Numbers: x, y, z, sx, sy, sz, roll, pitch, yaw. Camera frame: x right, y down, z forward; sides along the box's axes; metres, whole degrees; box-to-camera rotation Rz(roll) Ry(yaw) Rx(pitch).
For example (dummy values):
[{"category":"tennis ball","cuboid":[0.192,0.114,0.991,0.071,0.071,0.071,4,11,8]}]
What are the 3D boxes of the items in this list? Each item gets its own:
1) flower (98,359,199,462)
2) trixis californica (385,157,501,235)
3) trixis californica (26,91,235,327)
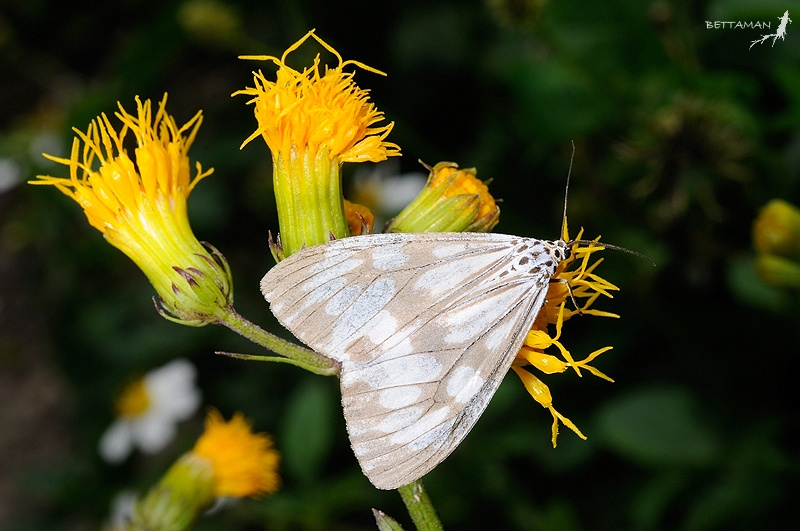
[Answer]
[{"category":"flower","cuboid":[-1.268,0.753,4.290,0.476,0.134,0.519,10,88,20]},{"category":"trixis californica","cuboid":[0.173,-0.241,3.342,0.361,0.207,0.297,-30,57,-3]},{"category":"trixis californica","cuboid":[-0.982,-0.200,3.271,0.748,0.342,0.946,-27,73,-18]}]
